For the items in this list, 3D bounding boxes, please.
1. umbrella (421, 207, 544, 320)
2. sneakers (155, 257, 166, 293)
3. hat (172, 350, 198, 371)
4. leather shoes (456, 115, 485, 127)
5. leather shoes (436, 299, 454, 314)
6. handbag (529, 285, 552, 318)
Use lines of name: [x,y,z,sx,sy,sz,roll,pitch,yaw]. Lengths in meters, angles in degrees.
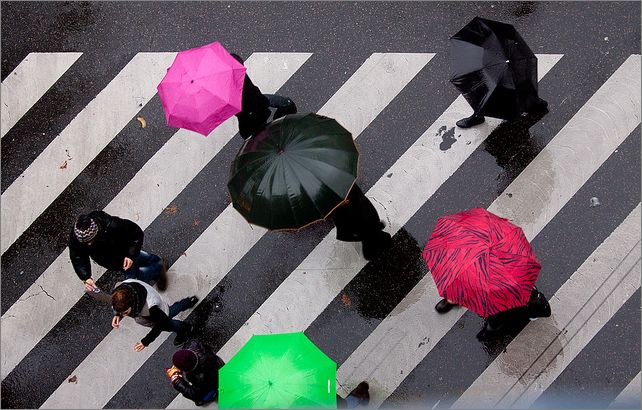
umbrella: [2.901,1.165,17.882,1.993,1.599,1.700,24,76,9]
sneakers: [-3.113,1.381,19.089,0.206,0.233,0.613,0,101,5]
hat: [-2.434,2.788,17.495,0.430,0.281,0.377,-1,74,3]
leather shoes: [2.942,-1.647,18.999,0.582,0.256,0.220,-5,77,6]
leather shoes: [2.357,1.953,18.612,0.390,0.164,0.177,-26,81,-31]
handbag: [4.064,1.807,18.093,0.205,0.407,0.606,-5,96,31]
